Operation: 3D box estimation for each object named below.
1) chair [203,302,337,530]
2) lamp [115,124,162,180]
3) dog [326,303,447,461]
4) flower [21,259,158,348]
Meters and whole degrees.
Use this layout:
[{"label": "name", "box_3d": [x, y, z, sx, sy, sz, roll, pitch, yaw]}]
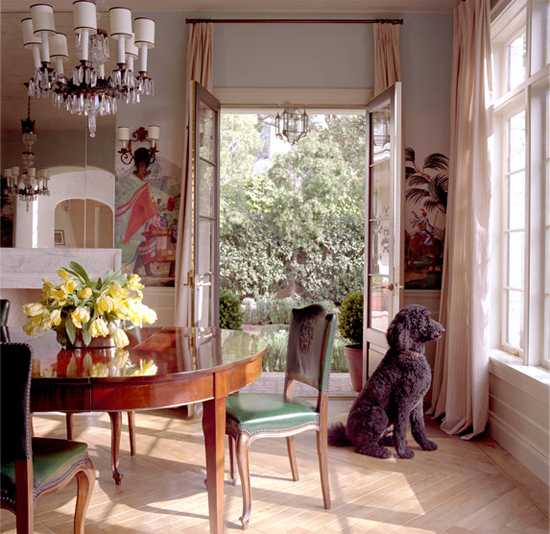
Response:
[{"label": "chair", "box_3d": [-0.018, 0.751, 3.031, 0.777, 1.509, 0.878, 3, -4, -20]}, {"label": "lamp", "box_3d": [-1.218, -1.015, 4.406, 0.416, 0.577, 0.190, 0, -1, -4]}, {"label": "dog", "box_3d": [0.743, 0.756, 3.546, 0.918, 1.367, 0.547, 0, 0, 19]}, {"label": "flower", "box_3d": [-0.877, 0.192, 2.330, 0.420, 0.353, 0.481, -1, -1, 4]}]
